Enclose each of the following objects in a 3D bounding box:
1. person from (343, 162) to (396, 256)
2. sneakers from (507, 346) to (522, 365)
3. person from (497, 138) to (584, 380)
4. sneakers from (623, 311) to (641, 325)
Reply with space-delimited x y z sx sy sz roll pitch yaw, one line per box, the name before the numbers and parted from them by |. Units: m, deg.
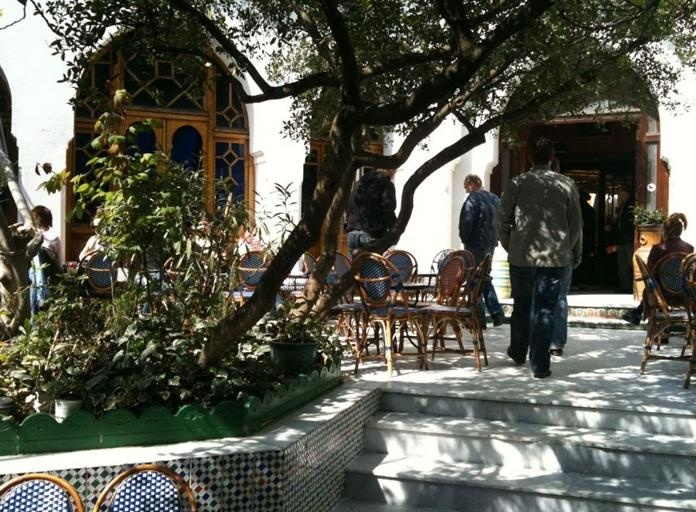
person | 0.246 -0.492 7.997 0.664 0.964 0.254 1 -2 29
sneakers | 1.670 1.006 6.981 0.077 0.116 0.223 0 -6 0
person | 1.823 -0.005 6.636 0.752 2.266 0.511 1 -2 19
sneakers | 3.912 0.854 9.563 0.089 0.190 0.258 -8 34 -17
